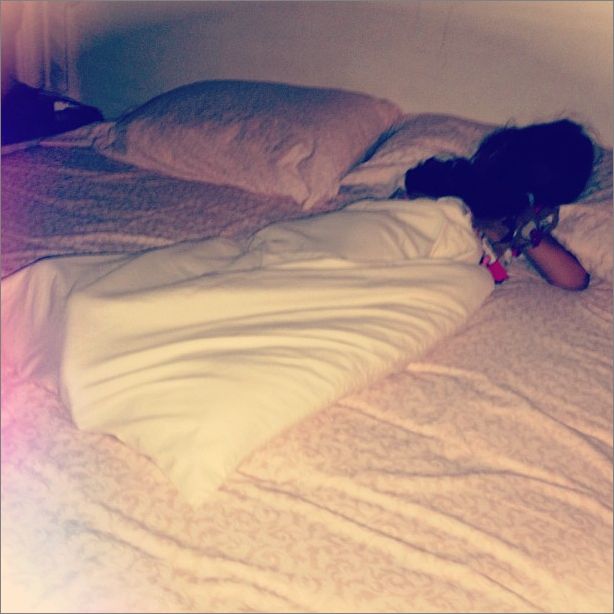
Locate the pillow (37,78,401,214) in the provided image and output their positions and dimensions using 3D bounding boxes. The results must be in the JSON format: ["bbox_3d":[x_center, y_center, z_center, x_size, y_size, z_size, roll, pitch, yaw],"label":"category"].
[{"bbox_3d":[-0.246,-0.688,3.004,0.744,0.178,0.691,19,43,23],"label":"pillow"}]

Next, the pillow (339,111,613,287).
[{"bbox_3d":[0.686,-0.510,3.014,0.854,0.236,0.730,19,2,-11],"label":"pillow"}]
